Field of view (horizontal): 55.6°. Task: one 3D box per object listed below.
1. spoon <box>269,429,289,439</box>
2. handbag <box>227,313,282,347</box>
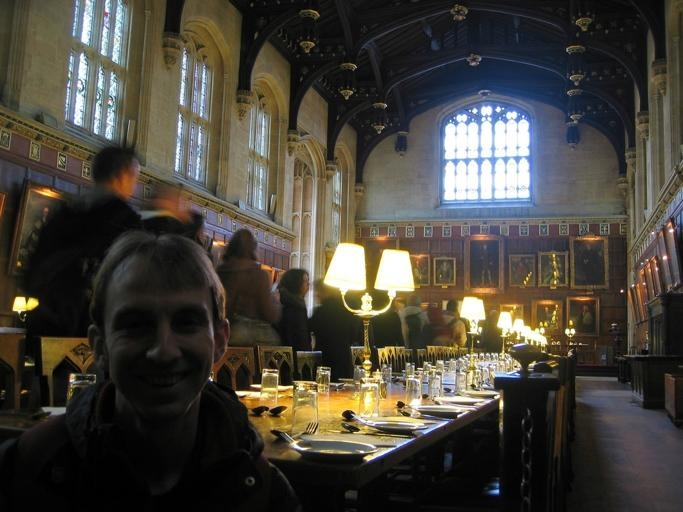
[{"bbox_3d":[-0.273,0.772,2.792,0.097,0.031,0.039,5,-32,48],"label":"spoon"},{"bbox_3d":[-0.695,0.627,5.152,0.371,0.193,0.246,13,-13,-14],"label":"handbag"}]
